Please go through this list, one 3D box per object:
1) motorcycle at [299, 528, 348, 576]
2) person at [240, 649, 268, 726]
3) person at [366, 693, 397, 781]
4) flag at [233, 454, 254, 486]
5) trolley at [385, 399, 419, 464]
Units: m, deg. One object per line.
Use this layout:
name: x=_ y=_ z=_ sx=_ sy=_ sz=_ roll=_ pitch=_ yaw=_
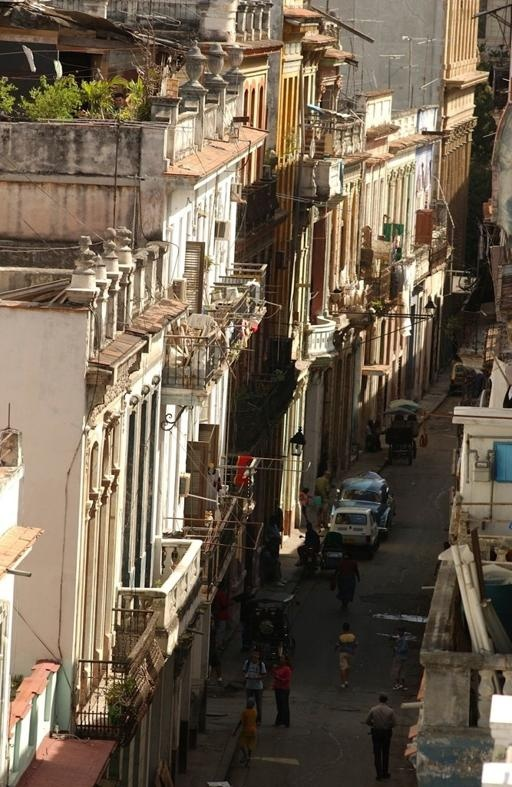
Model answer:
motorcycle: x=1.816 y=4.474 z=42.804 sx=0.787 sy=1.016 sz=1.642 roll=1 pitch=1 yaw=8
person: x=-0.003 y=5.665 z=29.608 sx=0.437 sy=1.370 sz=0.683 roll=-2 pitch=8 yaw=7
person: x=2.240 y=6.137 z=26.810 sx=0.510 sy=1.393 sz=0.717 roll=-21 pitch=6 yaw=1
flag: x=-0.280 y=1.625 z=33.061 sx=0.362 sy=0.749 sz=0.403 roll=13 pitch=-12 yaw=-42
trolley: x=5.886 y=1.665 z=61.644 sx=1.359 sy=2.178 sz=3.375 roll=9 pitch=9 yaw=6
